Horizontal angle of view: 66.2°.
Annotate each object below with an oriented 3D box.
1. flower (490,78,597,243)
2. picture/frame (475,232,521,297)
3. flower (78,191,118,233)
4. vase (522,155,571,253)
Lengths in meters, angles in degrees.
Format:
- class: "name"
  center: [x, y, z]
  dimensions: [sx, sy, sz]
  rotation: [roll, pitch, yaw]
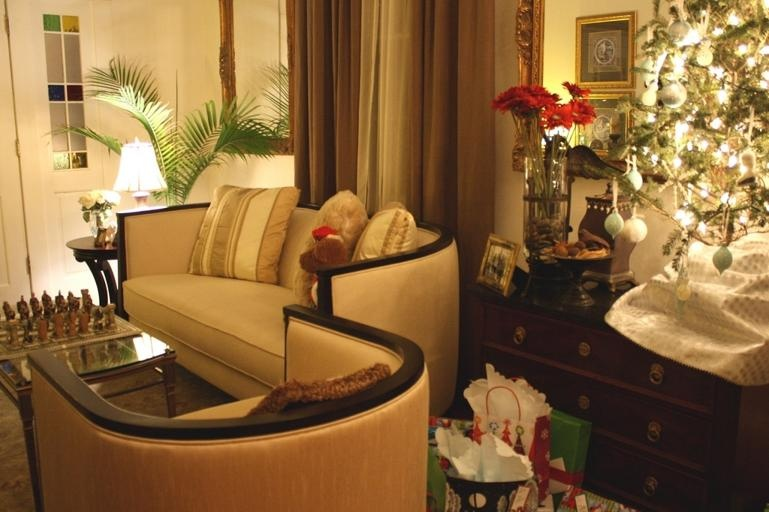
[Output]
- class: "flower"
  center: [0.722, -0.431, 2.699]
  dimensions: [0.425, 0.693, 0.285]
  rotation: [2, 15, 20]
- class: "picture/frame"
  center: [0.539, 0.040, 2.827]
  dimensions: [0.103, 0.283, 0.244]
  rotation: [9, 7, -35]
- class: "flower"
  center: [-2.189, -0.348, 4.481]
  dimensions: [0.258, 0.348, 0.314]
  rotation: [-15, 19, -39]
- class: "vase"
  center: [0.750, -0.212, 2.729]
  dimensions: [0.183, 0.485, 0.191]
  rotation: [-4, 14, 2]
